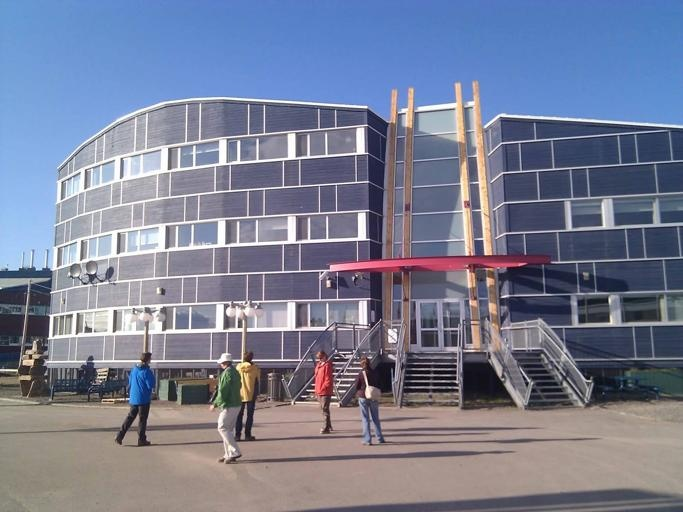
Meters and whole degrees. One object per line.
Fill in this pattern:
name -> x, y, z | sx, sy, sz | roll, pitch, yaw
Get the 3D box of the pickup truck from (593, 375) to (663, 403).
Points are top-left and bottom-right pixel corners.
pickup truck -> 11.527, 5.648, 22.325 | 2.332, 0.738, 1.534 | -4, -6, 27

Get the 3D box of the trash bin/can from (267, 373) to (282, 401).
trash bin/can -> -2.671, 5.216, 22.141 | 0.545, 1.063, 0.728 | 0, -10, -1

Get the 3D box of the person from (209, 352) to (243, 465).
person -> -2.316, 3.022, 11.261 | 0.597, 2.053, 1.313 | 2, -10, -12

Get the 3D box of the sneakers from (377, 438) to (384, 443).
sneakers -> 0.895, 4.146, 12.501 | 0.166, 0.106, 0.223 | -1, -10, 5

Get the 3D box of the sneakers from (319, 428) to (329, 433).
sneakers -> -0.405, 4.376, 13.949 | 0.225, 0.123, 0.157 | 1, -10, -7

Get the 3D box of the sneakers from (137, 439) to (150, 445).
sneakers -> -4.454, 4.179, 12.517 | 0.285, 0.122, 0.305 | 4, -11, -18

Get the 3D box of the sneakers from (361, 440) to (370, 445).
sneakers -> 0.564, 4.134, 12.331 | 0.181, 0.093, 0.221 | 0, -10, 4

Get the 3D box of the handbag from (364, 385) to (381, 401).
handbag -> 0.681, 3.106, 12.626 | 0.365, 0.503, 0.177 | 0, -1, 3

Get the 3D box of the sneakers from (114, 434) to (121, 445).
sneakers -> -5.036, 4.137, 12.525 | 0.131, 0.201, 0.454 | 5, -11, -23

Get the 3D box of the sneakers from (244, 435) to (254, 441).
sneakers -> -2.167, 4.266, 13.120 | 0.238, 0.109, 0.296 | 2, -11, -8
